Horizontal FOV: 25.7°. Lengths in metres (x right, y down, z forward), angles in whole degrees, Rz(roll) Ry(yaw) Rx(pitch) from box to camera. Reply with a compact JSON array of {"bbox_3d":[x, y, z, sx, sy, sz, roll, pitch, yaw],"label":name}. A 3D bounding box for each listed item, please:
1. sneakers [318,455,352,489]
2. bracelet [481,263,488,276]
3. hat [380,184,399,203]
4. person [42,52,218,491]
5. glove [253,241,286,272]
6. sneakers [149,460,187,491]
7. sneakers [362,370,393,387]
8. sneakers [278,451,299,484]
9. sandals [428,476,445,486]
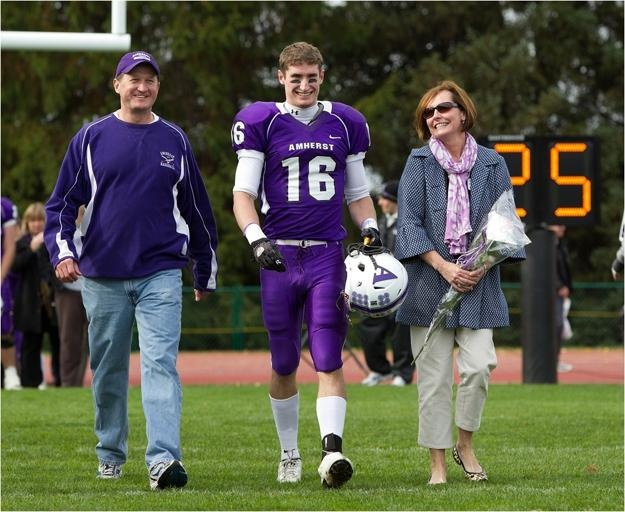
[{"bbox_3d":[0.206,1.853,12.050,0.172,0.197,0.396,0,-36,-20],"label":"sneakers"},{"bbox_3d":[1.571,0.108,12.485,0.064,0.088,0.075,6,-8,-13],"label":"bracelet"},{"bbox_3d":[1.017,-0.859,17.953,0.218,0.267,0.446,0,1,1],"label":"hat"},{"bbox_3d":[-1.600,0.103,12.398,1.459,3.862,0.825,0,1,-6],"label":"person"},{"bbox_3d":[-0.377,0.015,12.219,0.088,0.217,0.312,-10,-51,47],"label":"glove"},{"bbox_3d":[-1.266,1.912,12.128,0.322,0.266,0.172,0,1,-10],"label":"sneakers"},{"bbox_3d":[0.856,1.631,18.335,0.458,0.232,0.164,1,-2,-1],"label":"sneakers"},{"bbox_3d":[-0.203,1.916,12.472,0.193,0.253,0.604,-1,-4,-1],"label":"sneakers"},{"bbox_3d":[1.128,2.011,12.344,0.169,0.133,0.060,1,-6,38],"label":"sandals"}]
